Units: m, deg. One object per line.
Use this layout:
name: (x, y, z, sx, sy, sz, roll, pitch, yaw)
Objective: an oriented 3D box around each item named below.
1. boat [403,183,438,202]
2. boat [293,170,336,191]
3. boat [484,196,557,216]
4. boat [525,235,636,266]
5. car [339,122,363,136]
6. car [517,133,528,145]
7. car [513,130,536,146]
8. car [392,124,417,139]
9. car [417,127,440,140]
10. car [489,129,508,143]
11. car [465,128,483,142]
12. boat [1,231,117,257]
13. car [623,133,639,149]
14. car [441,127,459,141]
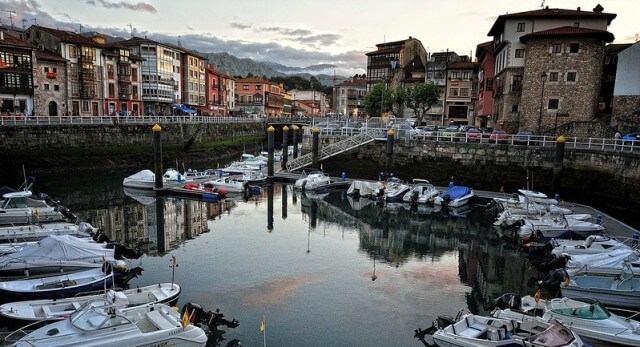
boat: (14.147, 2.890, 76.196, 2.478, 1.245, 3.462, 4, 15, 32)
boat: (-0.663, 1.117, 81.566, 4.905, 1.781, 3.128, -9, 16, -38)
boat: (24.361, 3.830, 69.967, 5.954, 2.206, 3.659, 5, 13, 30)
boat: (27.874, 8.544, 60.920, 9.017, 3.686, 3.175, 3, 7, 23)
car: (5.254, -7.555, 95.945, 4.069, 1.825, 2.276, 2, 11, 5)
car: (29.116, -5.054, 79.921, 1.307, 0.917, 2.114, 1, 8, 24)
car: (29.978, -5.023, 81.136, 2.699, 1.850, 4.254, 4, 7, 32)
car: (12.919, -6.144, 84.157, 2.819, 1.181, 2.689, 1, 9, -7)
car: (16.729, -6.094, 85.514, 2.812, 1.009, 3.511, 3, 9, 22)
car: (25.928, -5.369, 80.529, 2.503, 1.707, 3.410, 3, 6, 17)
car: (23.466, -5.874, 84.484, 2.151, 1.548, 3.567, 0, 6, 14)
boat: (-27.670, 8.433, 60.095, 12.606, 3.102, 3.754, 1, 1, -20)
car: (42.112, -4.482, 75.077, 1.688, 1.950, 7.735, 4, 7, 29)
car: (20.193, -6.115, 85.671, 2.444, 1.729, 9.377, 2, 6, 13)
